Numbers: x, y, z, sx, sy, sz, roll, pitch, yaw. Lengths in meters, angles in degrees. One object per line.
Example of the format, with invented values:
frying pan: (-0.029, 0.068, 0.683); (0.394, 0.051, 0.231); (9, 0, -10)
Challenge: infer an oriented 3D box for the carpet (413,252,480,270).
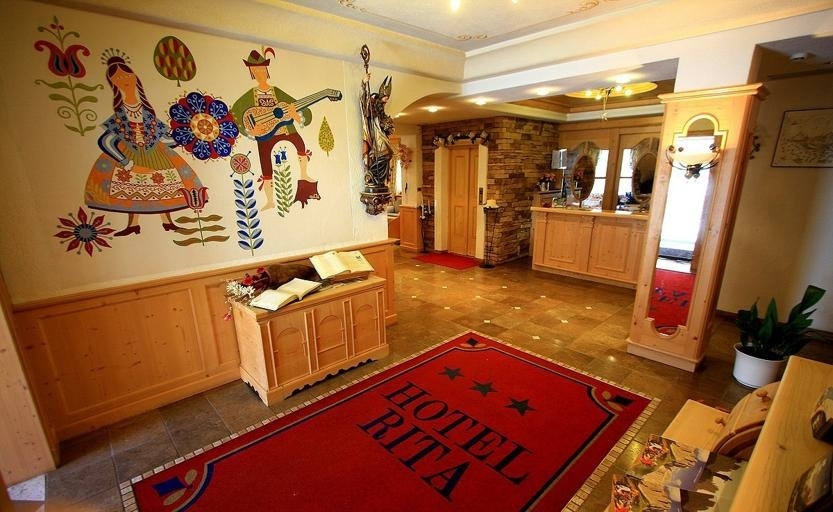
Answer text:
carpet: (0.623, 0.089, 9.229); (0.993, 0.034, 1.450); (-10, 17, -31)

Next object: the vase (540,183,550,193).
vase: (2.530, -1.322, 9.232); (0.186, 0.300, 0.171); (-2, 19, 4)

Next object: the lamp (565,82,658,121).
lamp: (3.177, -2.589, 7.494); (0.933, 0.451, 0.853); (-1, 10, 8)

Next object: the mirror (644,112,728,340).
mirror: (2.972, -0.304, 5.285); (0.545, 2.432, 0.517); (8, 20, 28)

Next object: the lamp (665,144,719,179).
lamp: (2.988, -1.016, 5.057); (0.402, 0.289, 0.172); (9, 18, 40)

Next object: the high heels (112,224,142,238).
high heels: (-2.865, -0.238, 4.683); (0.268, 0.099, 0.085); (-6, 22, -28)
